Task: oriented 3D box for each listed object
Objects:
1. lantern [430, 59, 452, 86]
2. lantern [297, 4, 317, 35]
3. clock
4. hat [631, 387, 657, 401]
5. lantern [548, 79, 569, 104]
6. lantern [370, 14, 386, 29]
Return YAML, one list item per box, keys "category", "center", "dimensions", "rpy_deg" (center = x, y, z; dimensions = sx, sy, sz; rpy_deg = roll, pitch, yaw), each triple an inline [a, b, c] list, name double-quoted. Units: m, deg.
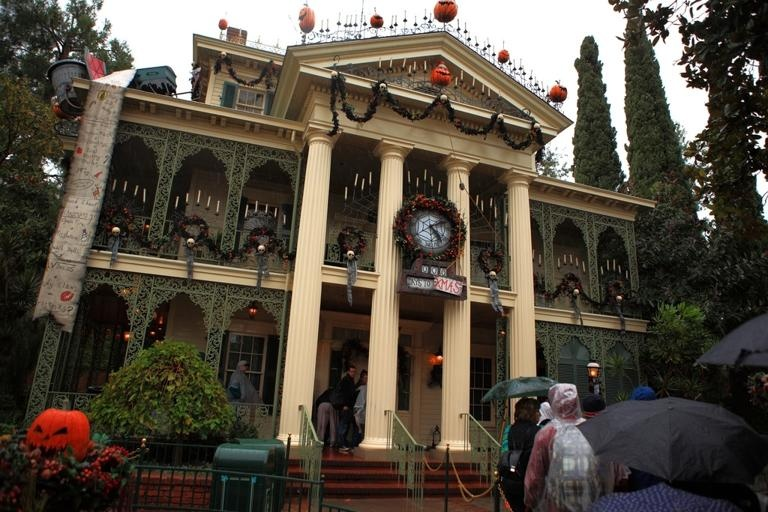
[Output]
- category: "lantern"
  center: [1.746, -5.682, 18.781]
  dimensions: [0.532, 0.895, 0.557]
  rpy_deg: [0, -20, 7]
- category: "lantern"
  center: [-2.552, -7.772, 19.845]
  dimensions: [0.452, 1.513, 0.499]
  rpy_deg: [7, -20, -13]
- category: "clock"
  center: [1.424, -0.813, 19.420]
  dimensions: [2.209, 2.231, 0.889]
  rpy_deg: [-39, 0, -17]
- category: "hat"
  center: [4.440, 2.355, 10.358]
  dimensions: [0.335, 0.158, 0.440]
  rpy_deg: [1, -4, 19]
- category: "lantern"
  center: [6.090, -5.797, 21.263]
  dimensions: [0.531, 0.538, 1.133]
  rpy_deg: [0, -20, 6]
- category: "lantern"
  center: [-0.279, -7.729, 19.919]
  dimensions: [0.367, 0.413, 0.370]
  rpy_deg: [7, -20, -13]
